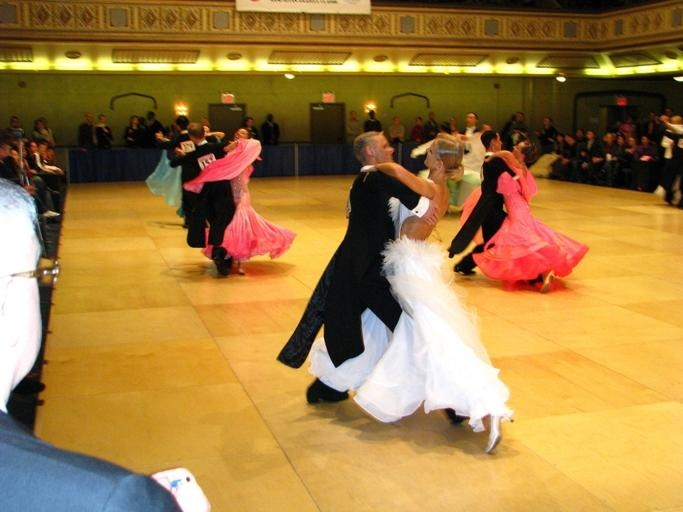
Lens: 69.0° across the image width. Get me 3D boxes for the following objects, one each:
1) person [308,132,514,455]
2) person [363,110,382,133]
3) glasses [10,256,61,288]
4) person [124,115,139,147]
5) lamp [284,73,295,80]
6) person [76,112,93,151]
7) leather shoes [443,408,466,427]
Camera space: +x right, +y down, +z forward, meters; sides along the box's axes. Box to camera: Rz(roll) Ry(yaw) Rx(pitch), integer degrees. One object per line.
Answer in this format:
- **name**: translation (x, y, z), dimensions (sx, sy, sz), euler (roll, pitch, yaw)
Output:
- **person**: translation (0.451, 0.181, 2.983), dimensions (0.885, 1.850, 1.167), euler (-9, 14, -31)
- **person**: translation (1.176, -5.183, 18.889), dimensions (0.520, 0.798, 0.948), euler (-1, 11, -2)
- **glasses**: translation (-1.255, 0.071, 2.050), dimensions (0.174, 0.056, 0.121), euler (-1, 16, -18)
- **person**: translation (-7.281, -4.341, 17.311), dimensions (0.478, 1.045, 0.443), euler (-5, 13, -17)
- **lamp**: translation (-2.080, -7.201, 19.888), dimensions (0.437, 0.173, 1.111), euler (-2, 10, -5)
- **person**: translation (-8.687, -4.226, 16.870), dimensions (0.451, 1.155, 0.697), euler (-8, 14, -28)
- **leather shoes**: translation (0.724, 1.033, 3.231), dimensions (0.142, 0.118, 0.133), euler (-6, 8, 5)
